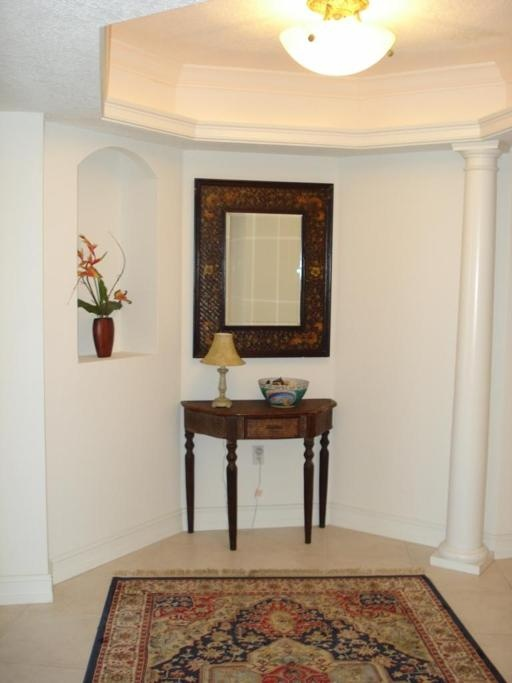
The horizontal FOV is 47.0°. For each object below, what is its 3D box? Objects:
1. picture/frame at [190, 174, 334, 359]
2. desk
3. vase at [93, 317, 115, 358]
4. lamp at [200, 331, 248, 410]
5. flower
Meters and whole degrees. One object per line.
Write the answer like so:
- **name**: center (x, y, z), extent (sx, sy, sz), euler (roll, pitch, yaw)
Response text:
- **picture/frame**: center (0.000, -0.481, 3.514), extent (1.190, 1.402, 0.077), euler (-1, 6, -13)
- **desk**: center (0.028, 0.761, 3.417), extent (0.925, 0.742, 0.384), euler (1, 1, -14)
- **vase**: center (-0.852, -0.020, 3.273), extent (0.105, 0.223, 0.208), euler (1, 2, -5)
- **lamp**: center (-0.194, 0.163, 3.427), extent (0.235, 0.420, 0.352), euler (1, 3, -4)
- **flower**: center (-0.861, -0.368, 3.346), extent (0.306, 0.469, 0.448), euler (1, 3, -13)
